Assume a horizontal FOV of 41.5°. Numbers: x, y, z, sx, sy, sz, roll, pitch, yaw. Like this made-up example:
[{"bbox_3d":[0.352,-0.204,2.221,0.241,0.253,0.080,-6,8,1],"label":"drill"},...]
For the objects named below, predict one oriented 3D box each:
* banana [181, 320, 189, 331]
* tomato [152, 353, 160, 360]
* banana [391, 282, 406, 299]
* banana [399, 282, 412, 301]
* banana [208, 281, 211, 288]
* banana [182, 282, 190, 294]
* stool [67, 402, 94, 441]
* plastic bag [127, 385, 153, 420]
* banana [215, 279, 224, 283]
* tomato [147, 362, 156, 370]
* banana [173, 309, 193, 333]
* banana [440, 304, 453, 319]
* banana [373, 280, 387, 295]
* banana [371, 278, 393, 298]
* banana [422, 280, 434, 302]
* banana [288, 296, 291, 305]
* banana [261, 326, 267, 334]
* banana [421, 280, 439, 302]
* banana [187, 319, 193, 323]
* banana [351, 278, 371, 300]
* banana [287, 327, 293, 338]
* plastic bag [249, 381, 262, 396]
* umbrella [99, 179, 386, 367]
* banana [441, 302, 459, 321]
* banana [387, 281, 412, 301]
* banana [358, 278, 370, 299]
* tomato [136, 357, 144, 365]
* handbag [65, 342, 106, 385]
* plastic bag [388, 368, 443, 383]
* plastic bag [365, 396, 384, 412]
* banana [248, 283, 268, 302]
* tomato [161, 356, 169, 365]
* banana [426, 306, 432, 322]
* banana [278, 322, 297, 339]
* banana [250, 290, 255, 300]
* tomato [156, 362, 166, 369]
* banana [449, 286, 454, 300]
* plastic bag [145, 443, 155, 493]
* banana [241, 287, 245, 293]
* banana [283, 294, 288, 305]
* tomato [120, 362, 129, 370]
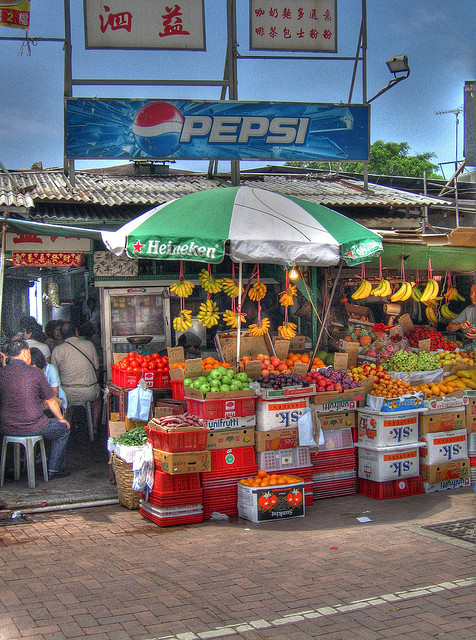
[{"bbox_3d":[-0.619,0.067,7.277,0.044,0.144,0.042,-15,14,16],"label":"banana"},{"bbox_3d":[-0.965,0.416,7.383,0.074,0.077,0.068,-4,-21,-1],"label":"tomato"},{"bbox_3d":[2.231,-0.421,8.734,0.343,0.078,0.119,-36,-17,-5],"label":"banana"},{"bbox_3d":[2.193,-0.353,8.149,0.186,0.259,0.097,2,-18,41],"label":"banana"},{"bbox_3d":[-0.337,-0.422,7.358,0.036,0.075,0.018,1,-3,-25],"label":"banana"},{"bbox_3d":[-0.613,-0.388,7.407,0.075,0.122,0.038,0,-3,1],"label":"banana"},{"bbox_3d":[-2.325,1.463,9.327,0.561,0.686,0.566,-1,-4,-14],"label":"stool"},{"bbox_3d":[-1.092,0.899,6.903,0.273,0.377,0.124,0,-3,3],"label":"plastic bag"},{"bbox_3d":[-0.234,-0.491,7.801,0.150,0.039,0.138,-1,0,7],"label":"banana"},{"bbox_3d":[-0.993,0.521,7.217,0.088,0.075,0.076,-1,-20,-4],"label":"tomato"},{"bbox_3d":[-0.658,0.008,7.329,0.246,0.223,0.107,-26,13,-10],"label":"banana"},{"bbox_3d":[3.129,-0.132,9.585,0.202,0.220,0.060,5,-11,-34],"label":"banana"},{"bbox_3d":[1.782,-0.405,7.836,0.137,0.158,0.043,18,-13,11],"label":"banana"},{"bbox_3d":[1.936,-0.452,8.516,0.204,0.113,0.294,-21,27,6],"label":"banana"},{"bbox_3d":[2.513,-0.368,8.174,0.089,0.313,0.117,26,-22,2],"label":"banana"},{"bbox_3d":[0.634,-0.254,7.749,0.022,0.084,0.087,-1,-3,17],"label":"banana"},{"bbox_3d":[0.305,0.120,7.358,0.063,0.073,0.039,2,-4,-43],"label":"banana"},{"bbox_3d":[2.482,-0.388,8.222,0.192,0.283,0.103,20,-12,-25],"label":"banana"},{"bbox_3d":[-0.596,0.002,7.690,0.094,0.020,0.015,33,-66,-33],"label":"banana"},{"bbox_3d":[1.585,-0.351,7.878,0.185,0.293,0.202,33,-5,-3],"label":"banana"},{"bbox_3d":[0.628,0.144,7.662,0.037,0.124,0.035,-24,-5,2],"label":"banana"},{"bbox_3d":[0.182,0.697,6.495,0.131,0.168,0.116,-2,8,0],"label":"plastic bag"},{"bbox_3d":[-0.102,-0.653,7.404,2.688,1.483,2.358,1,-1,-12],"label":"umbrella"},{"bbox_3d":[3.420,-0.159,10.148,0.224,0.320,0.110,-40,-8,2],"label":"banana"},{"bbox_3d":[2.209,-0.406,8.615,0.305,0.089,0.196,-42,27,-23],"label":"banana"},{"bbox_3d":[1.568,-0.384,7.801,0.054,0.179,0.159,16,-12,-41],"label":"banana"},{"bbox_3d":[-1.136,0.470,7.273,0.086,0.077,0.099,0,-2,-9],"label":"tomato"},{"bbox_3d":[-2.313,0.705,9.977,0.631,0.337,0.579,3,-15,-2],"label":"handbag"},{"bbox_3d":[2.180,0.668,7.550,0.394,0.123,0.272,-1,-1,-4],"label":"plastic bag"},{"bbox_3d":[1.513,0.919,6.940,0.160,0.107,0.168,0,-5,-2],"label":"plastic bag"},{"bbox_3d":[0.259,-0.345,7.812,0.203,0.241,0.095,11,-1,11],"label":"banana"},{"bbox_3d":[-0.859,0.460,7.325,0.100,0.084,0.091,1,-14,-11],"label":"tomato"},{"bbox_3d":[2.946,-0.111,9.716,0.071,0.220,0.315,-1,-3,16],"label":"banana"},{"bbox_3d":[0.619,0.116,7.768,0.236,0.130,0.217,1,-10,-2],"label":"banana"},{"bbox_3d":[0.182,-0.314,7.755,0.032,0.105,0.027,22,9,-41],"label":"banana"},{"bbox_3d":[-0.893,0.524,7.271,0.093,0.072,0.047,0,-3,-10],"label":"tomato"},{"bbox_3d":[3.080,-0.399,9.097,0.063,0.169,0.221,-1,-3,19],"label":"banana"},{"bbox_3d":[-0.857,1.445,6.139,0.077,0.442,0.131,0,-3,-7],"label":"plastic bag"},{"bbox_3d":[0.048,-0.430,8.883,0.075,0.068,0.064,-1,-7,-13],"label":"banana"},{"bbox_3d":[0.595,-0.244,7.756,0.028,0.099,0.029,15,5,-34],"label":"banana"},{"bbox_3d":[-1.334,0.525,7.296,0.169,0.071,0.083,-2,-3,41],"label":"tomato"}]
